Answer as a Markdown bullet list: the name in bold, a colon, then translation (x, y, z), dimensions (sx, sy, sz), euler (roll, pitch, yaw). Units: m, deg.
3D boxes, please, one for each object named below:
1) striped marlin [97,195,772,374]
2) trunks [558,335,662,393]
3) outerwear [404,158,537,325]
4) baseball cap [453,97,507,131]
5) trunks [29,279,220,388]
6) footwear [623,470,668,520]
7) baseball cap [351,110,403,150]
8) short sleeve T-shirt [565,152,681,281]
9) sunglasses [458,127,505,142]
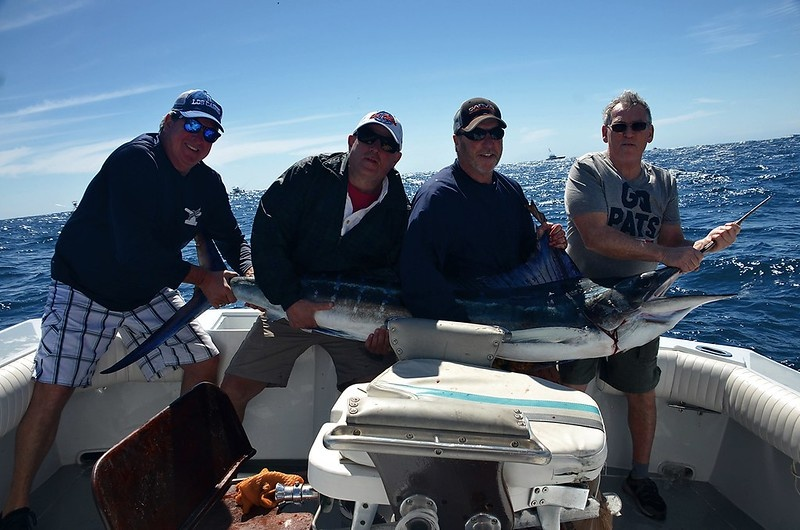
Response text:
- **striped marlin**: translation (0.494, 0.189, 3.163), dimensions (3.948, 0.961, 1.441), euler (4, 3, 6)
- **trunks**: translation (1.435, 0.639, 3.336), dimensions (0.304, 0.345, 0.494), euler (2, -18, 0)
- **outerwear**: translation (0.376, -0.155, 2.875), dimensions (0.420, 0.774, 0.731), euler (7, 19, 41)
- **baseball cap**: translation (0.431, -0.837, 2.924), dimensions (0.257, 0.172, 0.347), euler (-12, 9, -1)
- **trunks**: translation (-1.635, 0.417, 3.154), dimensions (0.724, 0.255, 0.444), euler (12, 41, -40)
- **footwear**: translation (1.475, 1.384, 3.224), dimensions (0.124, 0.123, 0.302), euler (-6, 19, -20)
- **baseball cap**: translation (-0.116, -0.729, 2.898), dimensions (0.253, 0.200, 0.164), euler (-6, 14, -5)
- **short sleeve T-shirt**: translation (1.356, -0.278, 3.259), dimensions (0.827, 0.709, 0.455), euler (8, 3, -12)
- **sunglasses**: translation (0.430, -0.698, 2.849), dimensions (0.243, 0.075, 0.077), euler (-3, 14, 5)
